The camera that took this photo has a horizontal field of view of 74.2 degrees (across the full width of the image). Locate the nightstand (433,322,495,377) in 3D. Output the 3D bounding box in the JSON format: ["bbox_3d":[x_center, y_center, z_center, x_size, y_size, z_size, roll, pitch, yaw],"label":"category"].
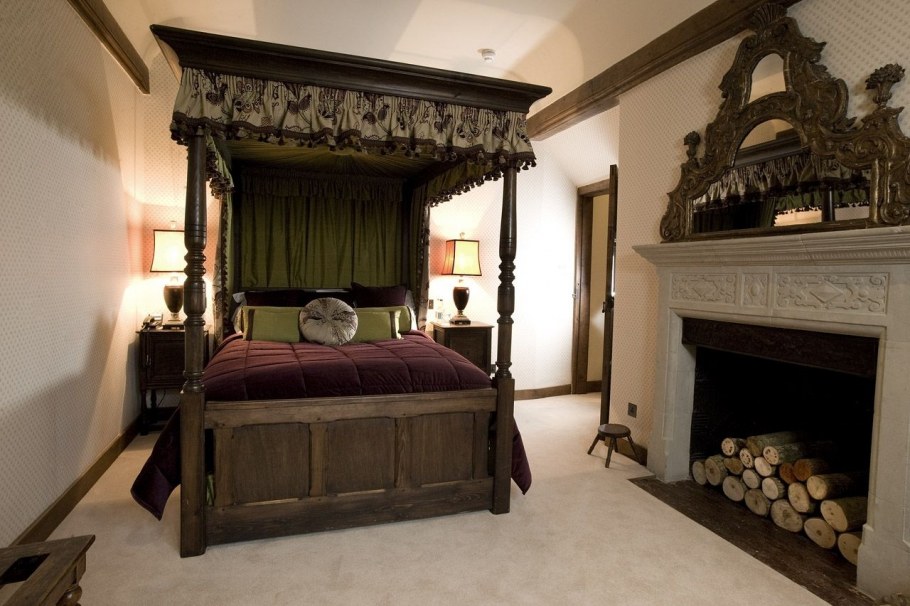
[{"bbox_3d":[0.092,0.467,6.679,0.628,0.778,0.547,-1,3,-20],"label":"nightstand"}]

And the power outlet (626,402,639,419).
[{"bbox_3d":[1.577,0.949,5.312,0.018,0.166,0.163,-1,1,-27],"label":"power outlet"}]

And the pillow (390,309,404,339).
[{"bbox_3d":[-0.562,0.201,5.635,0.059,0.205,0.205,3,-2,10],"label":"pillow"}]

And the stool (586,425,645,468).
[{"bbox_3d":[1.375,1.208,5.238,0.359,0.267,0.352,2,-4,-33],"label":"stool"}]

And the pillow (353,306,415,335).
[{"bbox_3d":[-0.589,0.147,5.943,0.436,0.290,0.118,6,-17,-42],"label":"pillow"}]

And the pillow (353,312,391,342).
[{"bbox_3d":[-0.744,0.217,5.465,0.277,0.279,0.127,3,-7,-22],"label":"pillow"}]
